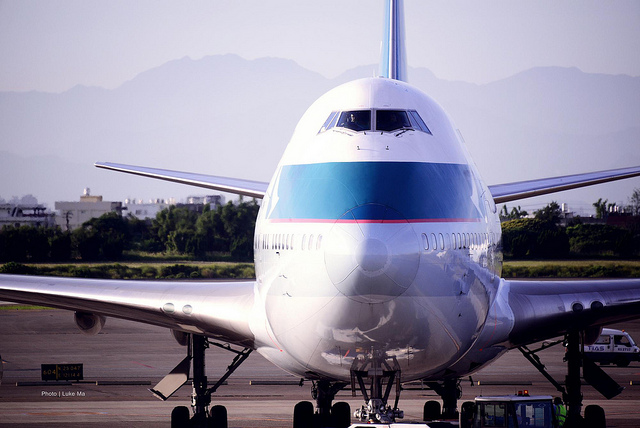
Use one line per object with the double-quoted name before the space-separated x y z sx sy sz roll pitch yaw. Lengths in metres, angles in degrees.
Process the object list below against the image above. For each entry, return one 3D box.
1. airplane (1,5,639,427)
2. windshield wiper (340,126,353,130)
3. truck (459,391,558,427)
"airplane" 0.309 2.818 41.234 17.378 7.718 17.603 0 -1 2
"windshield wiper" 0.787 -2.562 32.317 0.293 0.101 0.050 1 -7 2
"truck" 6.409 6.541 36.939 2.239 1.394 1.621 -2 0 3
